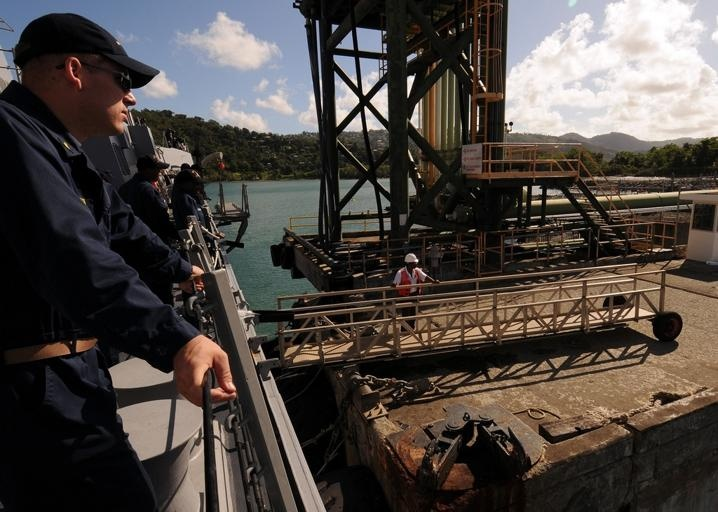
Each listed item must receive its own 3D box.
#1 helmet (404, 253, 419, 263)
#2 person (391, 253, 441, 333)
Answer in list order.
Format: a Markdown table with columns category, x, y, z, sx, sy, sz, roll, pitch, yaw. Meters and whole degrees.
| category | x | y | z | sx | sy | sz | roll | pitch | yaw |
| --- | --- | --- | --- | --- | --- | --- | --- | --- | --- |
| helmet | 1.203 | 0.062 | 10.579 | 0.263 | 0.176 | 0.200 | 3 | 9 | 28 |
| person | 1.493 | 0.975 | 11.632 | 1.494 | 2.245 | 0.704 | -14 | 19 | -30 |
